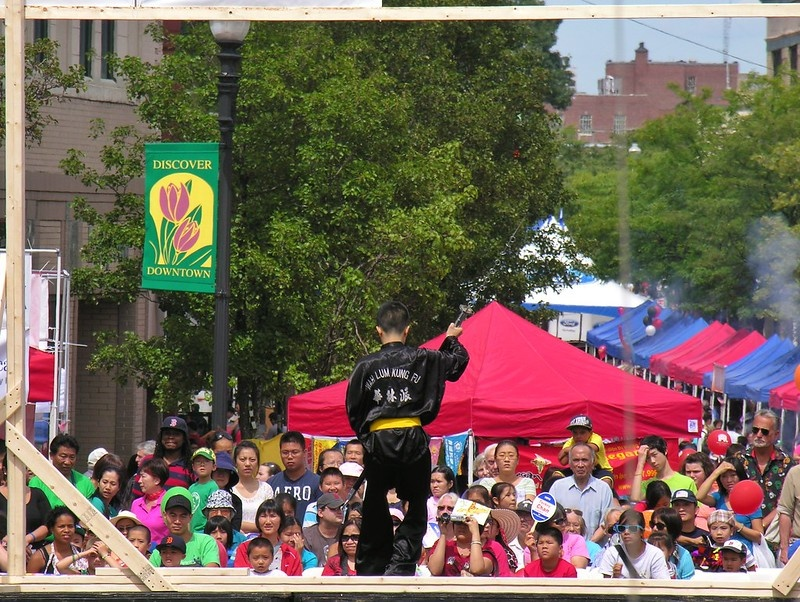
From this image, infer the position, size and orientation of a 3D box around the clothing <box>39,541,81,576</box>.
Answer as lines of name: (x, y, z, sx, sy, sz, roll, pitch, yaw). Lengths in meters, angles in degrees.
clothing: (-4.675, 3.585, 34.270, 0.657, 0.602, 0.361, 1, -13, -10)

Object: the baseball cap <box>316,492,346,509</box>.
baseball cap: (-0.953, 2.857, 34.886, 0.324, 0.150, 0.235, -9, -15, 31)

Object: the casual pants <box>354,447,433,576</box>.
casual pants: (-0.066, 2.830, 32.914, 1.013, 1.680, 0.410, -1, 5, -2)

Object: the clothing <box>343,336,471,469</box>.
clothing: (0.160, 1.531, 34.550, 2.028, 2.239, 1.365, 2, -22, 13)

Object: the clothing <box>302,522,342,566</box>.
clothing: (-1.058, 3.465, 34.494, 0.617, 0.505, 0.311, 4, -10, -21)

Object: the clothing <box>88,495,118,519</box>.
clothing: (-4.207, 2.933, 34.694, 0.254, 0.313, 0.444, 1, -18, 29)

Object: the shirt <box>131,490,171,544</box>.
shirt: (-3.523, 3.125, 35.271, 0.751, 0.656, 0.417, 3, 17, 37)

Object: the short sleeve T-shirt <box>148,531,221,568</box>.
short sleeve T-shirt: (-2.974, 3.486, 34.098, 0.940, 0.436, 0.836, 4, -16, -7)

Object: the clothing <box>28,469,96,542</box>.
clothing: (-4.843, 2.992, 35.671, 1.020, 0.629, 0.981, -1, 3, 26)

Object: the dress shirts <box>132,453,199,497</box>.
dress shirts: (-3.245, 2.519, 36.345, 0.710, 0.324, 0.683, 16, 12, -3)

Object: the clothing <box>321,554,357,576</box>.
clothing: (-0.826, 3.664, 33.688, 0.440, 0.363, 0.223, 1, -44, 1)

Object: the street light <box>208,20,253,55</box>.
street light: (-2.502, -3.965, 36.696, 0.480, 0.332, 0.456, -4, 8, -29)

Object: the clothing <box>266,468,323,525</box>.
clothing: (-1.470, 3.029, 36.182, 1.075, 0.967, 0.590, 2, 6, 27)

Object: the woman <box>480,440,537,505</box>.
woman: (1.631, 2.565, 36.319, 1.003, 0.860, 0.572, -5, 0, 24)

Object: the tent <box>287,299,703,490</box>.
tent: (1.697, 1.025, 41.072, 4.914, 1.605, 5.028, 8, 10, 31)

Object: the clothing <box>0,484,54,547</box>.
clothing: (-5.138, 2.993, 33.647, 1.043, 0.985, 0.555, 2, -14, -12)

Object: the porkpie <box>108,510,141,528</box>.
porkpie: (-3.830, 3.027, 34.171, 0.271, 0.070, 0.260, -12, -26, 26)

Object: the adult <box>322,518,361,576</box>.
adult: (-0.634, 3.507, 33.973, 0.827, 0.885, 0.469, 2, -7, 3)

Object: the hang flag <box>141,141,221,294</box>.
hang flag: (-3.325, -1.269, 37.342, 1.329, 2.224, 0.795, 0, 5, 14)

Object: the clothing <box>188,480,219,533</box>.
clothing: (-2.798, 3.000, 35.189, 0.639, 0.751, 0.287, -3, -29, 4)

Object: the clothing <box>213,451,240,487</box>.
clothing: (-2.551, 2.506, 36.137, 0.407, 0.459, 0.241, -7, 41, 3)

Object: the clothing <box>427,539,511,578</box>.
clothing: (1.039, 3.356, 33.364, 0.975, 0.596, 0.488, -1, -19, 4)

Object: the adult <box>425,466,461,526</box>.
adult: (0.610, 2.873, 36.002, 0.661, 0.812, 0.704, 1, -4, -37)
